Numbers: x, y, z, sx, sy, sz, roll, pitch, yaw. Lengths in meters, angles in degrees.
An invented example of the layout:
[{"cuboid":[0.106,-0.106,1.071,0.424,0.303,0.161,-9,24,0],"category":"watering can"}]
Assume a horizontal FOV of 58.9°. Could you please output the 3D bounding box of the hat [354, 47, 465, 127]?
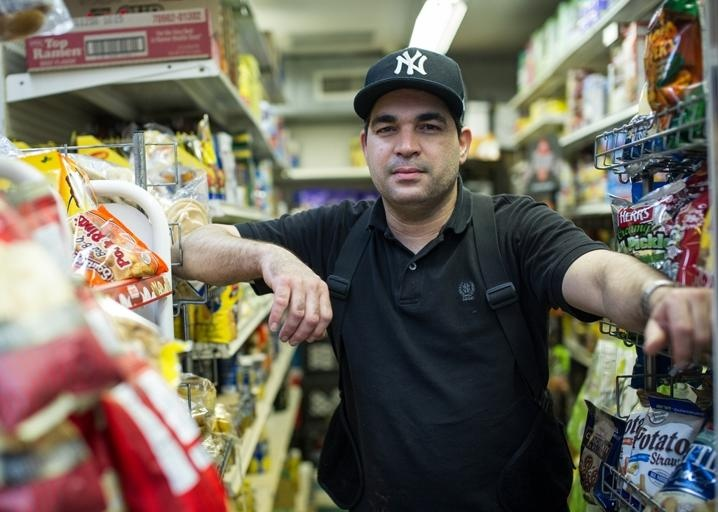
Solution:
[{"cuboid":[0.195,-0.653,2.335,0.334,0.276,0.500,1,-4,11],"category":"hat"}]
